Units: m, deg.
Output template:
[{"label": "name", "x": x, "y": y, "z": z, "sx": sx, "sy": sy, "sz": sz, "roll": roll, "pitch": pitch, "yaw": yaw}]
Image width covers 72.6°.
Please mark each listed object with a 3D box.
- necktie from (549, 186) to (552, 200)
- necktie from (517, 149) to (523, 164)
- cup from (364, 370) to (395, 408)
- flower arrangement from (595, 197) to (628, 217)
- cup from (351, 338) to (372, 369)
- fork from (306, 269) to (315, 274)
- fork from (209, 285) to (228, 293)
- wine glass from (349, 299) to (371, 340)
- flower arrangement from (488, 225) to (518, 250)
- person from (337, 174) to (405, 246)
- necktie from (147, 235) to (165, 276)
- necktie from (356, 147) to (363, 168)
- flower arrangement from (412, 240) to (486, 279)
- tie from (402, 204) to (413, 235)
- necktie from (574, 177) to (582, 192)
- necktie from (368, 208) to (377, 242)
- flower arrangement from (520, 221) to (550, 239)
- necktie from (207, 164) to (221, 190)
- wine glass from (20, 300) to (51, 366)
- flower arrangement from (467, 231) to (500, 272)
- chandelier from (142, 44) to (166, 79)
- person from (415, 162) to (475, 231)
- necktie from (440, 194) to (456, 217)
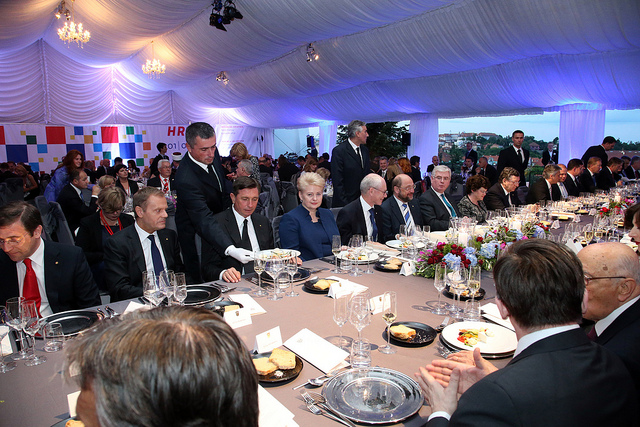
[{"label": "necktie", "x": 3.619, "y": -0.322, "z": 6.893, "sx": 0.023, "sy": 0.196, "sz": 0.105, "roll": -4, "pitch": -1, "yaw": 33}, {"label": "necktie", "x": 3.813, "y": -1.091, "z": 8.364, "sx": 0.145, "sy": 0.288, "sz": 0.041, "roll": -3, "pitch": -1, "yaw": -43}, {"label": "cup", "x": 0.279, "y": 0.817, "z": 2.045, "sx": 0.129, "sy": 0.159, "sz": 0.168, "roll": -4, "pitch": -1, "yaw": 12}, {"label": "flower arrangement", "x": 3.645, "y": -0.079, "z": 5.495, "sx": 0.330, "sy": 0.156, "sz": 0.263, "roll": -18, "pitch": 3, "yaw": -1}, {"label": "cup", "x": 0.209, "y": 0.705, "z": 2.207, "sx": 0.118, "sy": 0.117, "sz": 0.121, "roll": -3, "pitch": -1, "yaw": 0}, {"label": "fork", "x": -0.070, "y": 0.447, "z": 3.400, "sx": 0.043, "sy": 0.025, "sz": 0.066, "roll": -4, "pitch": -2, "yaw": -19}, {"label": "fork", "x": -0.684, "y": 0.518, "z": 3.003, "sx": 0.129, "sy": 0.048, "sz": 0.061, "roll": -6, "pitch": -2, "yaw": 35}, {"label": "wine glass", "x": 0.221, "y": 0.559, "z": 2.334, "sx": 0.099, "sy": 0.213, "sz": 0.122, "roll": -4, "pitch": -1, "yaw": 14}, {"label": "flower arrangement", "x": 1.348, "y": 0.181, "z": 3.237, "sx": 0.139, "sy": 0.106, "sz": 0.146, "roll": -11, "pitch": 5, "yaw": -1}, {"label": "person", "x": 0.464, "y": -0.086, "z": 4.983, "sx": 0.762, "sy": 1.073, "sz": 0.682, "roll": -1, "pitch": 9, "yaw": 22}, {"label": "necktie", "x": -1.339, "y": 0.340, "z": 3.647, "sx": 0.115, "sy": 0.318, "sz": 0.114, "roll": -4, "pitch": -1, "yaw": -42}, {"label": "necktie", "x": 0.540, "y": -0.797, "z": 5.965, "sx": 0.029, "sy": 0.214, "sz": 0.025, "roll": -16, "pitch": -1, "yaw": -33}, {"label": "flower arrangement", "x": 0.866, "y": 0.303, "z": 3.140, "sx": 0.323, "sy": 0.162, "sz": 0.332, "roll": 2, "pitch": -3, "yaw": -27}, {"label": "tie", "x": 0.919, "y": 0.066, "z": 4.616, "sx": 0.059, "sy": 0.288, "sz": 0.249, "roll": -13, "pitch": 5, "yaw": 11}, {"label": "necktie", "x": 4.597, "y": -0.514, "z": 7.841, "sx": 0.036, "sy": 0.320, "sz": 0.053, "roll": -11, "pitch": -10, "yaw": -1}, {"label": "necktie", "x": 0.577, "y": 0.109, "z": 4.706, "sx": 0.066, "sy": 0.275, "sz": 0.218, "roll": -3, "pitch": 21, "yaw": 20}, {"label": "flower arrangement", "x": 1.852, "y": 0.143, "z": 3.802, "sx": 0.181, "sy": 0.090, "sz": 0.143, "roll": 9, "pitch": 2, "yaw": -6}, {"label": "necktie", "x": -0.996, "y": -0.332, "z": 4.153, "sx": 0.038, "sy": 0.275, "sz": 0.035, "roll": -19, "pitch": -1, "yaw": -29}, {"label": "wine glass", "x": -1.511, "y": 0.623, "z": 2.326, "sx": 0.113, "sy": 0.311, "sz": 0.302, "roll": -4, "pitch": -1, "yaw": -36}, {"label": "flower arrangement", "x": 1.147, "y": 0.276, "z": 3.077, "sx": 0.217, "sy": 0.167, "sz": 0.192, "roll": -22, "pitch": 33, "yaw": -30}, {"label": "chandelier", "x": -4.802, "y": -4.503, "z": 12.774, "sx": 0.715, "sy": 1.207, "sz": 0.702, "roll": -6, "pitch": 15, "yaw": -27}, {"label": "person", "x": 1.611, "y": -0.223, "z": 5.533, "sx": 0.730, "sy": 0.782, "sz": 0.735, "roll": 9, "pitch": 18, "yaw": 44}, {"label": "necktie", "x": 1.630, "y": -0.105, "z": 5.588, "sx": 0.170, "sy": 0.296, "sz": 0.129, "roll": -4, "pitch": -1, "yaw": 17}]
